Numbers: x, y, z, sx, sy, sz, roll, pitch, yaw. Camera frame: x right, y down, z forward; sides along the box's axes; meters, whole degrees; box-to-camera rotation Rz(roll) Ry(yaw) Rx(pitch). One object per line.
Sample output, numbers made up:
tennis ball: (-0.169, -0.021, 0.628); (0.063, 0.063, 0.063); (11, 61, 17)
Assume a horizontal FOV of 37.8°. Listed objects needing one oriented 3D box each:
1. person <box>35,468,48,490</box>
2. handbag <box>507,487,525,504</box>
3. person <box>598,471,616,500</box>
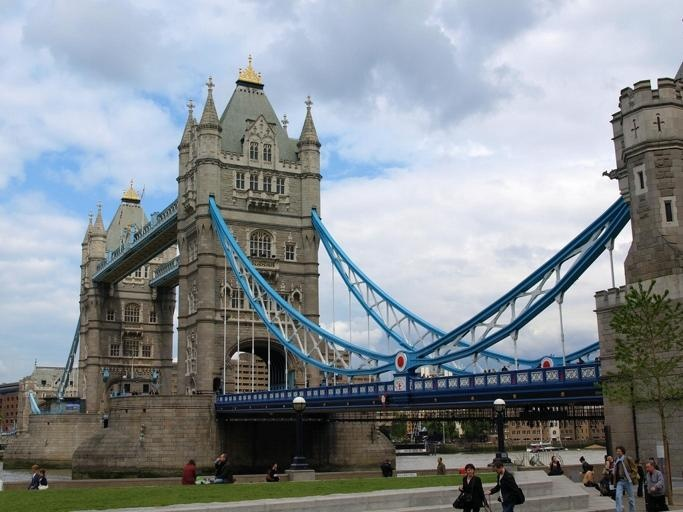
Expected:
person: (-12.152, 9.075, 40.357); (0.403, 0.692, 0.959); (2, -15, -13)
handbag: (5.838, 7.988, 33.094); (0.372, 0.555, 0.380); (-5, -15, 16)
person: (11.030, 9.546, 41.398); (0.743, 1.417, 0.828); (0, -4, 22)
